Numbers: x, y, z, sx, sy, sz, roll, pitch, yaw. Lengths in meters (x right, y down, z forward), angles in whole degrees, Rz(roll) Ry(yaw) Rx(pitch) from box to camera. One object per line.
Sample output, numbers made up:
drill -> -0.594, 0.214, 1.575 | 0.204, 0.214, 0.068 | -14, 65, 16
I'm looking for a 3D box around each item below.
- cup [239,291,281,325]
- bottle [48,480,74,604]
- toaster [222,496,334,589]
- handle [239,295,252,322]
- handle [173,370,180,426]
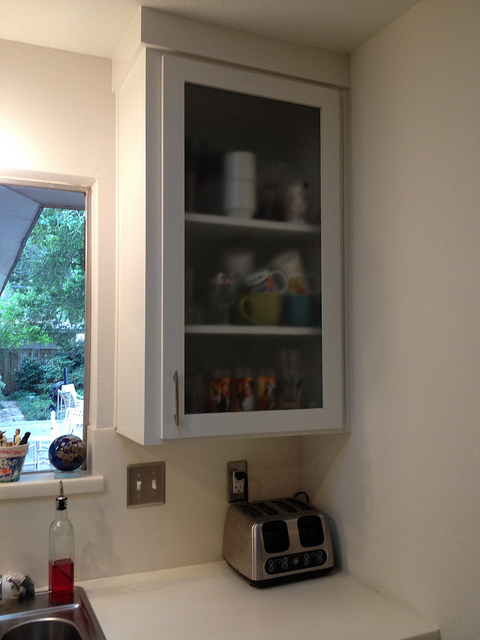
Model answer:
cup -> 0.055, -0.026, 1.267 | 0.072, 0.079, 0.070 | -2, -3, 0
bottle -> -0.416, 0.549, 1.202 | 0.052, 0.202, 0.045 | 2, -4, -26
toaster -> 0.103, 0.606, 1.441 | 0.274, 0.168, 0.269 | 2, -6, -22
handle -> 0.010, -0.027, 1.246 | 0.041, 0.061, 0.028 | -4, 1, 3
handle -> -0.141, 0.171, 1.139 | 0.015, 0.121, 0.007 | 1, -4, -13
